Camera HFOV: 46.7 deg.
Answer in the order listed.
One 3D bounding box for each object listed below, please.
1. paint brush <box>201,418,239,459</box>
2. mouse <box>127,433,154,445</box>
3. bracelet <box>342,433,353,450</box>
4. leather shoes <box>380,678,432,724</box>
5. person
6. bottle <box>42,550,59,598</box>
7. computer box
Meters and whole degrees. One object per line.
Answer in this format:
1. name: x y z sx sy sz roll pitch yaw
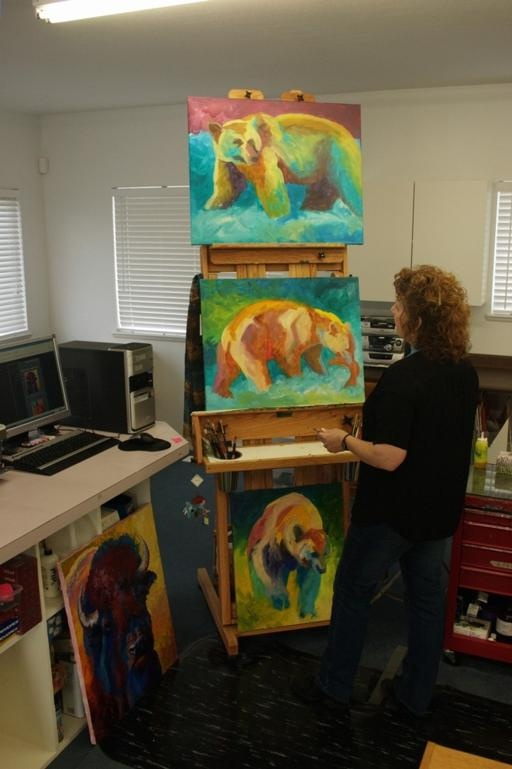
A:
1. paint brush: -0.139 0.196 2.151 0.098 0.149 0.148 -5 8 -16
2. mouse: -0.480 0.223 2.477 0.071 0.023 0.049 5 16 5
3. bracelet: 0.276 0.174 1.814 0.039 0.050 0.018 -5 1 -16
4. leather shoes: 0.495 1.074 2.011 0.094 0.032 0.133 -8 29 -29
5. person: 0.426 0.380 1.899 0.378 1.492 0.403 -4 8 -24
6. bottle: -0.632 0.598 1.815 0.049 0.148 0.042 -3 8 -22
7. computer box: -0.825 -0.005 3.162 0.487 0.463 0.310 7 15 21
